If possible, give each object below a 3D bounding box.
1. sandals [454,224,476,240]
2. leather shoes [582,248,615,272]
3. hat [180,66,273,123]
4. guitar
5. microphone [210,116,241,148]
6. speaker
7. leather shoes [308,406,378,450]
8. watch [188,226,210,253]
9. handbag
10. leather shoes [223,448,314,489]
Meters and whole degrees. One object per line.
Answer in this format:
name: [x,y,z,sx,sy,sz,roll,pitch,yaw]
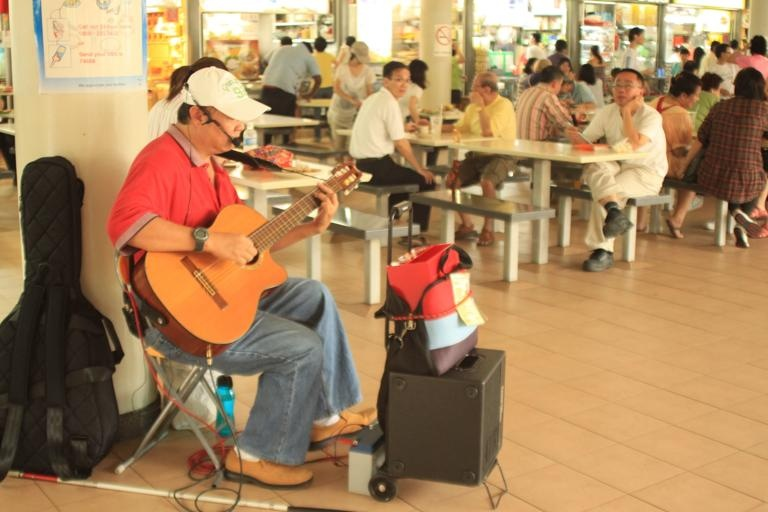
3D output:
sandals: [0.870,-0.255,7.294,0.309,0.124,0.111,-1,1,-45]
leather shoes: [2.027,0.043,6.300,0.147,0.149,0.367,4,7,38]
hat: [-0.718,-0.746,3.065,0.381,0.166,0.236,19,33,0]
guitar: [-0.603,-0.006,2.978,1.011,0.427,0.145,-43,5,-37]
microphone: [-0.749,-0.568,3.094,0.148,0.057,0.088,40,12,-7]
speaker: [0.282,0.714,3.037,0.473,0.508,0.382,4,13,15]
leather shoes: [-0.209,0.877,3.518,0.416,0.142,0.136,-18,22,-33]
watch: [-0.775,-0.075,2.882,0.075,0.100,0.092,10,46,-19]
handbag: [0.253,0.191,3.162,0.525,0.624,0.674,0,11,22]
leather shoes: [-0.538,1.002,3.186,0.438,0.170,0.161,3,8,2]
